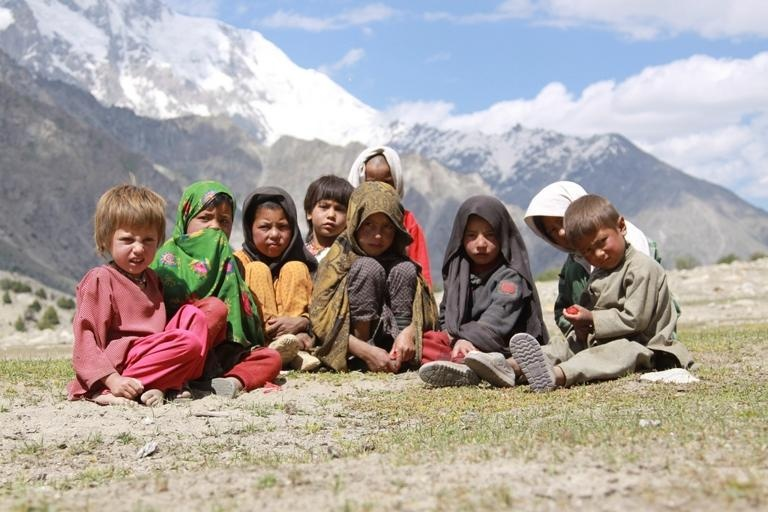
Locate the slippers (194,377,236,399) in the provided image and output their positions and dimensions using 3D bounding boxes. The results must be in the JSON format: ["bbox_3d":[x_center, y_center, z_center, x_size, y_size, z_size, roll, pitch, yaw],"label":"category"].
[{"bbox_3d":[-1.507,1.171,7.805,0.453,0.155,0.184,-3,15,9],"label":"slippers"}]

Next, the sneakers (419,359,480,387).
[{"bbox_3d":[0.566,1.071,8.071,0.546,0.235,0.233,8,4,-6],"label":"sneakers"}]

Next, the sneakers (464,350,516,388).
[{"bbox_3d":[0.966,1.007,8.030,0.559,0.255,0.230,37,-27,-22],"label":"sneakers"}]

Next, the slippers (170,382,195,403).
[{"bbox_3d":[-1.758,1.191,7.596,0.240,0.168,0.082,7,-34,-18],"label":"slippers"}]

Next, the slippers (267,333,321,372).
[{"bbox_3d":[-0.885,0.971,8.715,0.513,0.228,0.309,19,-17,-9],"label":"slippers"}]

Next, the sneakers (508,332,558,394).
[{"bbox_3d":[1.268,0.917,7.890,0.269,0.637,0.291,-25,-1,3],"label":"sneakers"}]

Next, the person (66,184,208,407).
[{"bbox_3d":[-2.131,0.311,7.559,1.134,1.872,0.542,-1,1,-21],"label":"person"}]
